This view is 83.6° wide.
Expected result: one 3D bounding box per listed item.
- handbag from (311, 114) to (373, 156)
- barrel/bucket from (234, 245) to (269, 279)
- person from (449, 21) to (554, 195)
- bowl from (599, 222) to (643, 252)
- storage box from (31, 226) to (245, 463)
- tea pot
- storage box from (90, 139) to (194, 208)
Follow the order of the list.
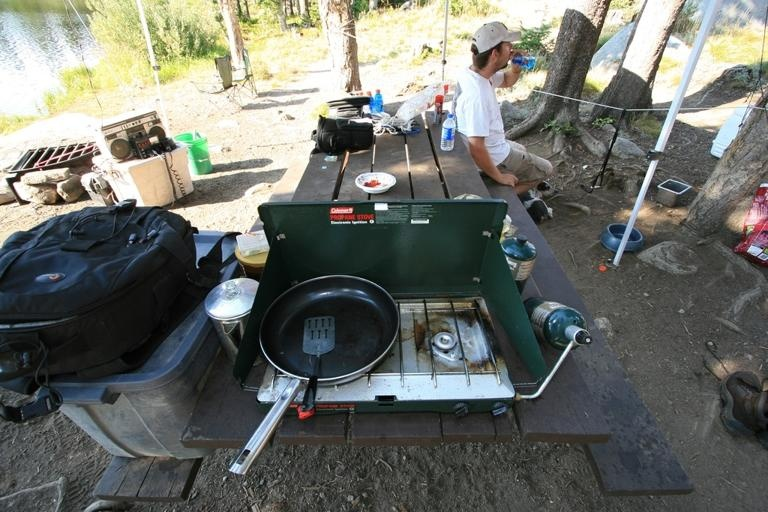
[{"bbox_3d":[-0.502,-1.336,4.786,0.813,0.380,0.613,-2,28,-10],"label":"handbag"},{"bbox_3d":[-0.945,0.042,3.235,0.245,0.232,0.235,1,34,-1],"label":"barrel/bucket"},{"bbox_3d":[1.347,-1.409,4.925,1.170,2.130,1.021,2,29,-10],"label":"person"},{"bbox_3d":[2.776,-0.199,5.096,0.390,0.135,0.366,-4,39,3],"label":"bowl"},{"bbox_3d":[-1.708,0.756,3.127,0.881,1.037,1.165,-6,63,9],"label":"storage box"},{"bbox_3d":[-1.020,0.417,3.021,0.425,0.512,0.387,6,25,-3],"label":"tea pot"},{"bbox_3d":[-3.366,-1.168,6.095,0.999,0.516,0.956,5,32,19],"label":"storage box"}]
